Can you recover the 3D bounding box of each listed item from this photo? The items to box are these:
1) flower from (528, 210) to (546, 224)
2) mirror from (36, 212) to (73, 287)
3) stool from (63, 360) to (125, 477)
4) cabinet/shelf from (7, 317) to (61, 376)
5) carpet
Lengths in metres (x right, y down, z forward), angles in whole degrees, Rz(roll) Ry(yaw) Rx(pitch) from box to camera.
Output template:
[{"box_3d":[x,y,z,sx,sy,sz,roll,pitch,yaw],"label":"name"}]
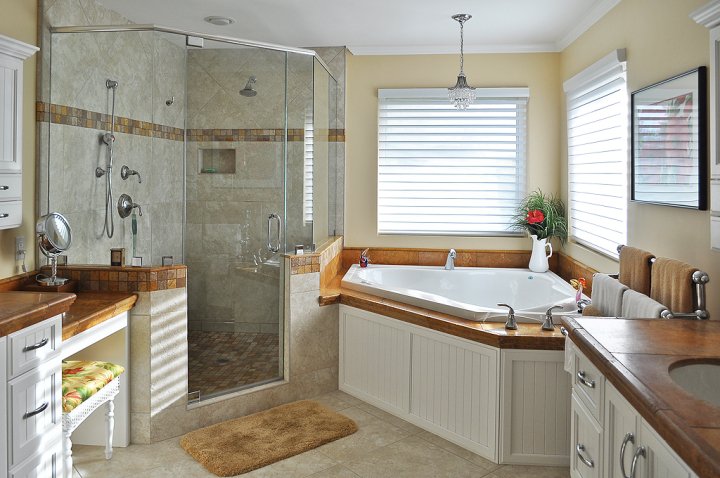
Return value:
[{"box_3d":[1.698,-0.193,5.033,0.132,0.130,0.132,4,-13,-29],"label":"flower"},{"box_3d":[-2.109,0.063,3.622,0.231,0.488,0.234,-4,15,-17],"label":"mirror"},{"box_3d":[-1.689,1.147,3.390,0.357,0.692,0.592,-6,16,-24],"label":"stool"},{"box_3d":[-1.681,0.553,2.723,0.197,0.211,0.310,1,2,4],"label":"cabinet/shelf"},{"box_3d":[-0.628,1.396,3.715,0.697,0.073,0.461,-4,9,-34],"label":"carpet"}]
